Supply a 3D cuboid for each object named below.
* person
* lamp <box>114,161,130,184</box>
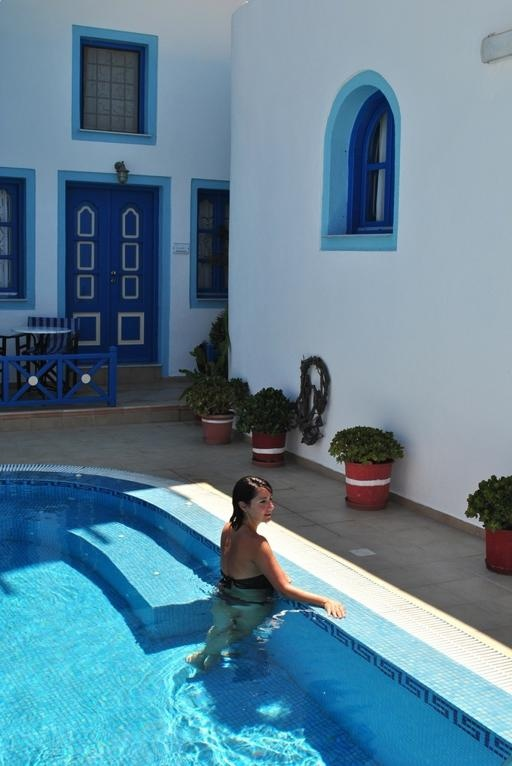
[{"bbox_3d":[0.133,1.044,3.371,0.809,1.172,0.628,10,18,17],"label":"person"},{"bbox_3d":[-2.199,-3.421,10.213,0.227,0.350,0.267,-5,7,-11],"label":"lamp"}]
